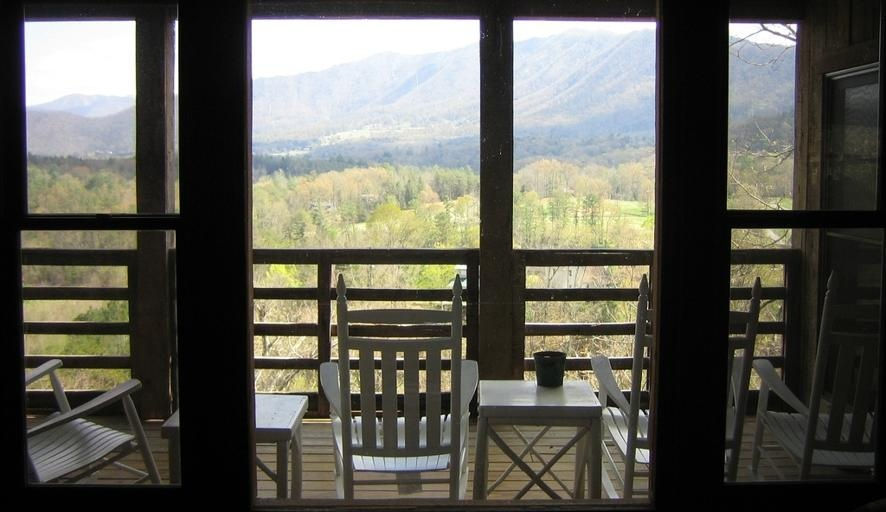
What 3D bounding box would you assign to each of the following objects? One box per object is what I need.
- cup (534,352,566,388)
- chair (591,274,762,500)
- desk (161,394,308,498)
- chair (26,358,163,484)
[{"bbox_3d":[0.460,0.501,3.683,0.153,0.109,0.132,1,-1,-14],"label":"cup"},{"bbox_3d":[0.881,0.593,3.432,0.520,1.056,1.638,-1,1,10],"label":"chair"},{"bbox_3d":[-0.879,0.901,3.501,0.528,0.450,0.533,-4,6,-21],"label":"desk"},{"bbox_3d":[-1.180,0.538,2.816,0.403,0.522,0.421,-9,0,-30],"label":"chair"}]
